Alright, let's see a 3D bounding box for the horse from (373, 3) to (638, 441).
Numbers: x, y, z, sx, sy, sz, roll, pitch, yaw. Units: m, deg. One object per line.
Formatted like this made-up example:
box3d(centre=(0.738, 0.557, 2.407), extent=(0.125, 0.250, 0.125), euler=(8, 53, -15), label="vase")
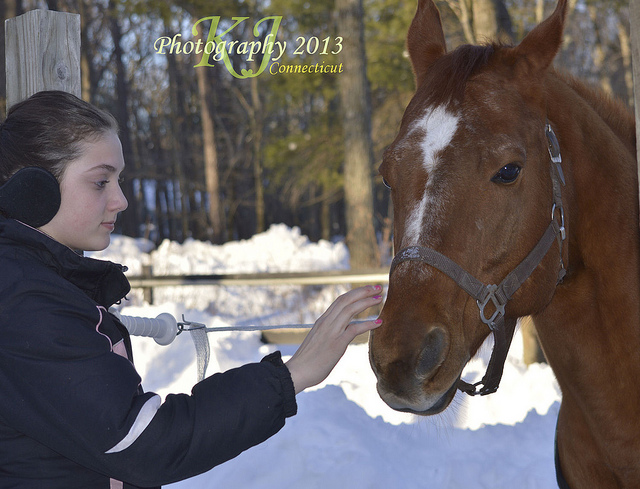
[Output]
box3d(centre=(1.696, -0.102, 11.646), extent=(2.287, 3.860, 1.255), euler=(0, 16, -7), label="horse")
